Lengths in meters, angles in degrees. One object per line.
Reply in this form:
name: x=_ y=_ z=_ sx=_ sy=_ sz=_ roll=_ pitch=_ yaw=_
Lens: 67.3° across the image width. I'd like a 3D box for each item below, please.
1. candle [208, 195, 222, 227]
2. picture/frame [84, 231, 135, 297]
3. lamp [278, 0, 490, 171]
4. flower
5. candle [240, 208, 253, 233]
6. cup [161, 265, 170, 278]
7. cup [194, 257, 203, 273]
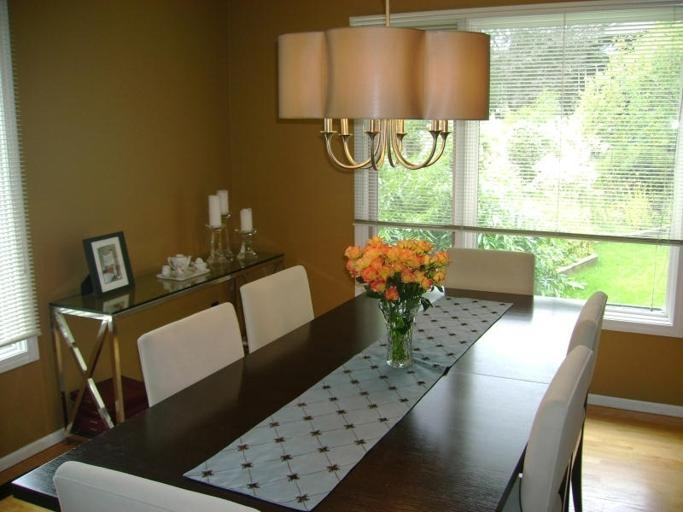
candle: x=-0.944 y=-0.329 z=3.816 sx=0.073 sy=0.229 sz=0.128 roll=-2 pitch=14 yaw=-6
picture/frame: x=-1.459 y=0.062 z=3.190 sx=0.039 sy=0.411 sz=0.334 roll=-9 pitch=4 yaw=32
lamp: x=0.155 y=-0.592 z=1.777 sx=0.636 sy=0.592 sz=0.521 roll=-9 pitch=16 yaw=-33
flower: x=0.247 y=0.222 z=2.149 sx=0.367 sy=0.458 sz=0.403 roll=3 pitch=-4 yaw=-2
candle: x=-0.744 y=-0.266 z=3.992 sx=0.085 sy=0.174 sz=0.069 roll=-7 pitch=15 yaw=-28
cup: x=-1.198 y=0.108 z=3.529 sx=0.057 sy=0.087 sz=0.082 roll=1 pitch=-6 yaw=-10
cup: x=-1.000 y=0.063 z=3.621 sx=0.065 sy=0.099 sz=0.091 roll=1 pitch=-2 yaw=20
